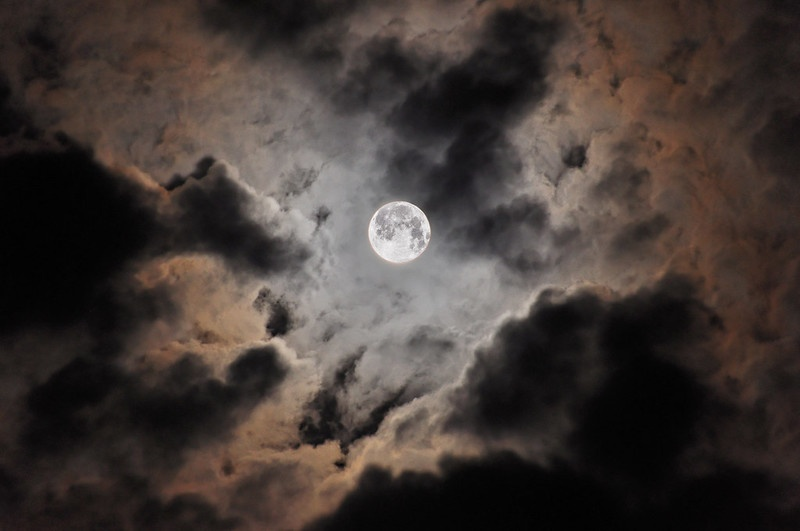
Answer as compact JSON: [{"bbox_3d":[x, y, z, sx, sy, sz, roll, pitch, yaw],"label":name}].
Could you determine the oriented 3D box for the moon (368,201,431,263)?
[{"bbox_3d":[0.010,-0.692,23.049,1.322,0.575,1.258,7,-76,-1],"label":"moon"}]
